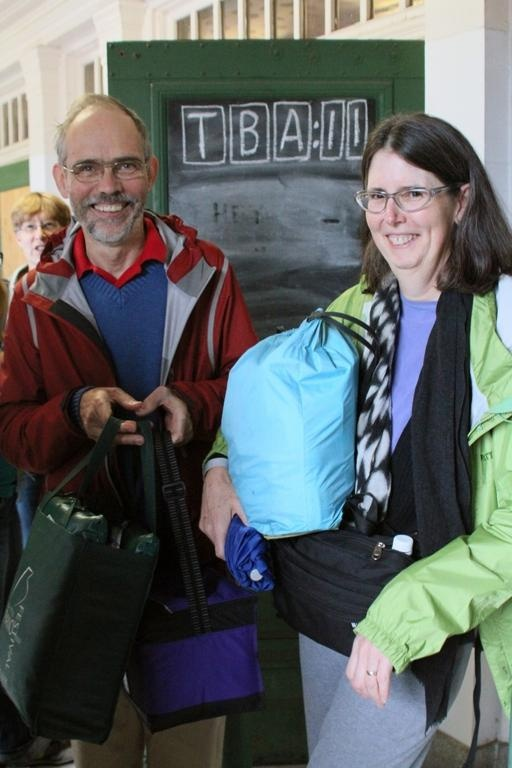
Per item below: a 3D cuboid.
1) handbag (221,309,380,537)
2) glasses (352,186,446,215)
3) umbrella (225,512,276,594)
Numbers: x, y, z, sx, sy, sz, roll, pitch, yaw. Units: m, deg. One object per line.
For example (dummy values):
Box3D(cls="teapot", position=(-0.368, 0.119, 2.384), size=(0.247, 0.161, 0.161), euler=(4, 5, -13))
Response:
Box3D(cls="handbag", position=(0.074, 0.064, 1.280), size=(0.307, 0.478, 0.373), euler=(2, -2, -20))
Box3D(cls="glasses", position=(0.224, -0.289, 1.048), size=(0.070, 0.020, 0.073), euler=(6, 10, 39))
Box3D(cls="umbrella", position=(-0.013, 0.276, 1.112), size=(0.044, 0.113, 0.081), euler=(-14, -10, -38))
